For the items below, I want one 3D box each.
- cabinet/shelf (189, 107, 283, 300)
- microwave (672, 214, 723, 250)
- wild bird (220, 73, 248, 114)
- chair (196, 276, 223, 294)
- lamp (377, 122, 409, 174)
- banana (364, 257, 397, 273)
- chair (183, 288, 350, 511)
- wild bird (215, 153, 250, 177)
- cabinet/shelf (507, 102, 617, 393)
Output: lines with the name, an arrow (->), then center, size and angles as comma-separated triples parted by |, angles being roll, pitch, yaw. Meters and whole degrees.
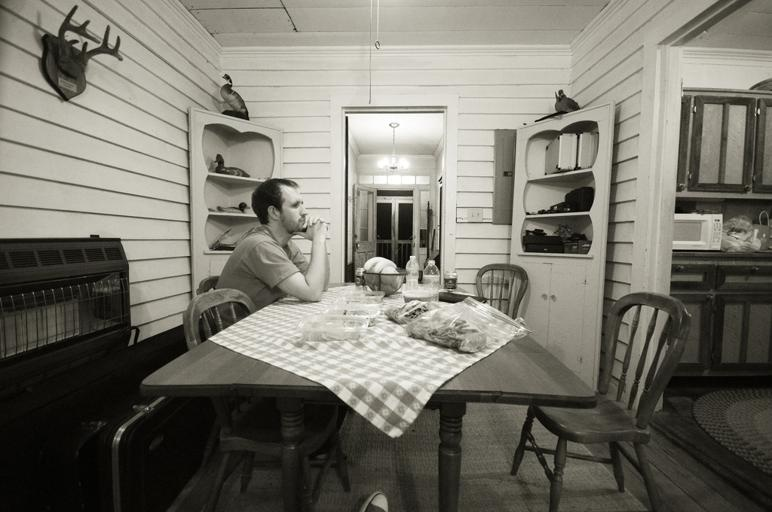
cabinet/shelf -> -1.557, -0.668, 5.217 | 0.750, 1.330, 0.389 | 6, 2, -33
microwave -> 2.758, -0.209, 4.723 | 0.527, 0.357, 0.339 | 0, 2, 11
wild bird -> -1.463, -1.601, 5.113 | 0.239, 0.450, 0.567 | -1, 4, -13
chair -> -1.368, 0.230, 4.086 | 0.155, 0.201, 0.172 | -4, -6, 22
lamp -> 0.124, -1.727, 9.017 | 0.451, 0.693, 0.461 | 2, 4, 42
banana -> -0.057, 0.068, 4.071 | 0.182, 0.087, 0.248 | 1, 3, 0
chair -> -0.875, 0.819, 4.032 | 1.325, 1.929, 1.134 | 0, 3, 5
wild bird -> -1.541, -0.873, 5.095 | 0.422, 0.237, 0.289 | 4, 6, 45
cabinet/shelf -> 1.626, -0.016, 4.896 | 0.288, 2.260, 0.797 | -5, 11, -43
